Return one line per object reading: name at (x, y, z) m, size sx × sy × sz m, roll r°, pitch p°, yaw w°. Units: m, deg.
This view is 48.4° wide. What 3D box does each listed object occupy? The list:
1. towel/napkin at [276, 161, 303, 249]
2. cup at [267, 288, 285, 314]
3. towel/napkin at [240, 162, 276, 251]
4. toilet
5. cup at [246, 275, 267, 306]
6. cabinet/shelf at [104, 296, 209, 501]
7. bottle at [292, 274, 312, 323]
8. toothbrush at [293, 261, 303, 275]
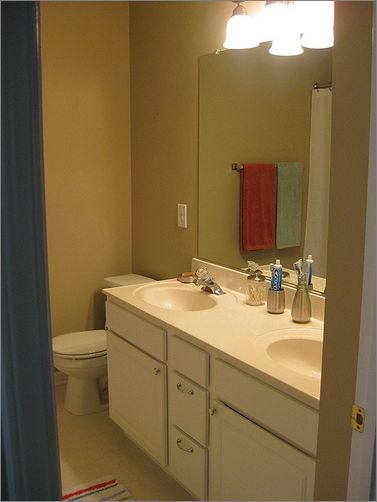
towel/napkin at (0.426, -0.194, 1.735) m, size 0.121 × 0.345 × 0.032 m, roll 1°, pitch -5°, yaw 24°
cup at (0.347, 0.193, 1.656) m, size 0.072 × 0.102 × 0.082 m, roll 1°, pitch 6°, yaw 12°
towel/napkin at (0.313, -0.195, 1.868) m, size 0.015 × 0.384 × 0.211 m, roll -5°, pitch 8°, yaw -37°
toilet at (-0.571, 0.586, 2.796) m, size 0.760 × 0.990 × 0.469 m, roll -2°, pitch 5°, yaw -37°
cup at (0.291, 0.168, 1.801) m, size 0.083 × 0.131 × 0.088 m, roll -1°, pitch 7°, yaw 0°
cabinet/shelf at (-0.126, 0.613, 1.747) m, size 0.289 × 0.619 × 0.627 m, roll -3°, pitch 8°, yaw -29°
bottle at (0.432, 0.181, 1.566) m, size 0.082 × 0.173 × 0.065 m, roll -1°, pitch 7°, yaw 1°
toothbrush at (0.434, 0.065, 1.657) m, size 0.044 × 0.055 × 0.008 m, roll -3°, pitch 19°, yaw -40°
